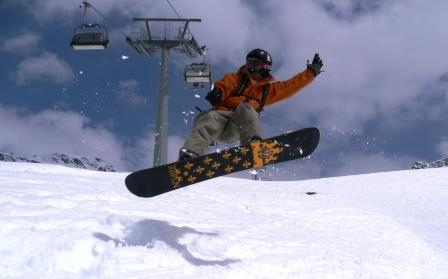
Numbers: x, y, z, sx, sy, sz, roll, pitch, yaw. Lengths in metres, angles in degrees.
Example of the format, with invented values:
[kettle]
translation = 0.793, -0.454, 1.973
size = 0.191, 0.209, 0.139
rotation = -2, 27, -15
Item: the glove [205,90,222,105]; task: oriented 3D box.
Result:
[glove]
translation = -0.179, -0.922, 10.926
size = 0.287, 0.163, 0.330
rotation = 35, 71, 6
